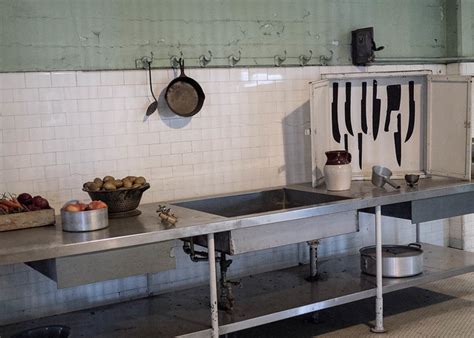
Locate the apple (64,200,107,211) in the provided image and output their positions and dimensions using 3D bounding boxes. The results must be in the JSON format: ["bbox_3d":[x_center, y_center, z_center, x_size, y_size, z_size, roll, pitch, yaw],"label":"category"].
[{"bbox_3d":[-1.156,0.282,3.424,0.198,0.078,0.113,-8,-1,-10],"label":"apple"}]

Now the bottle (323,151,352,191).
[{"bbox_3d":[0.971,0.022,4.366,0.393,0.371,0.293,4,-8,-36],"label":"bottle"}]

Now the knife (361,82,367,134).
[{"bbox_3d":[1.371,-0.668,4.864,0.118,0.561,0.006,1,1,-32],"label":"knife"}]

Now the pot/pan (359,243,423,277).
[{"bbox_3d":[1.560,0.911,4.502,0.600,0.239,0.541,-4,8,-6],"label":"pot/pan"}]

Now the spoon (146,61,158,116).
[{"bbox_3d":[-0.817,-0.756,4.222,0.119,0.510,0.068,-5,9,-9],"label":"spoon"}]

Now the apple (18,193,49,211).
[{"bbox_3d":[-1.634,0.265,3.600,0.170,0.064,0.161,13,13,-13],"label":"apple"}]

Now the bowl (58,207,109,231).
[{"bbox_3d":[-1.162,0.382,3.519,0.435,0.151,0.417,-3,2,0],"label":"bowl"}]

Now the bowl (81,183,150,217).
[{"bbox_3d":[-0.956,0.263,3.707,0.408,0.158,0.336,-2,3,33],"label":"bowl"}]

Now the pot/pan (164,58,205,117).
[{"bbox_3d":[-0.509,-0.754,4.302,0.377,0.542,0.084,-8,6,-34],"label":"pot/pan"}]

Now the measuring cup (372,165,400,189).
[{"bbox_3d":[1.458,0.084,4.403,0.159,0.103,0.275,0,26,-33],"label":"measuring cup"}]

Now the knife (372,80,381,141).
[{"bbox_3d":[1.502,-0.647,4.873,0.113,0.640,0.055,-7,10,-18],"label":"knife"}]
